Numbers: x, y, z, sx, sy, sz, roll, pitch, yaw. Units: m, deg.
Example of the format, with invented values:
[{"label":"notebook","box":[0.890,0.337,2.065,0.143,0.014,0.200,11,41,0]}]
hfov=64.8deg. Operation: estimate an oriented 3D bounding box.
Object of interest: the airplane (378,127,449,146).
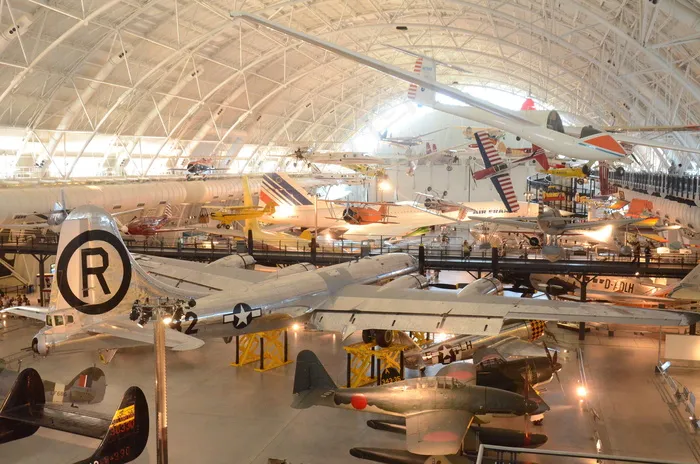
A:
[{"label":"airplane","box":[10.012,-14.555,83.614,5.887,1.373,5.447,-1,13,26]}]

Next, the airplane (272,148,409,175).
[{"label":"airplane","box":[-1.680,-9.621,75.573,9.607,2.171,8.745,3,10,-1]}]
